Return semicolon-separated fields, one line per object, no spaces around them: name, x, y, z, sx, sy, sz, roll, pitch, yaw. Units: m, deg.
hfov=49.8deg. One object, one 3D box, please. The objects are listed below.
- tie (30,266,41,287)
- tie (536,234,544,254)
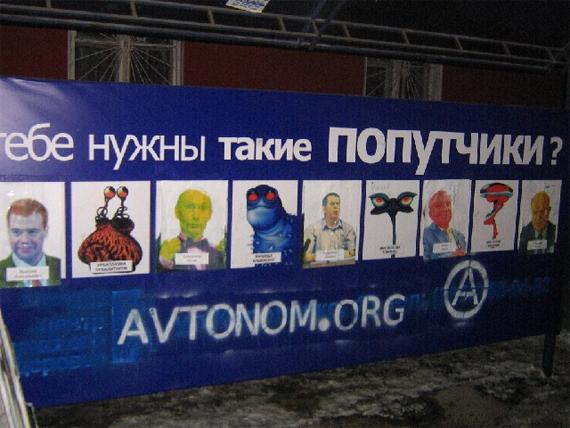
tie;-1.822;0.470;4.477;0.075;0.112;0.028;5;-4;-30
tie;2.391;0.274;5.749;0.164;0.196;0.020;-4;9;-27
